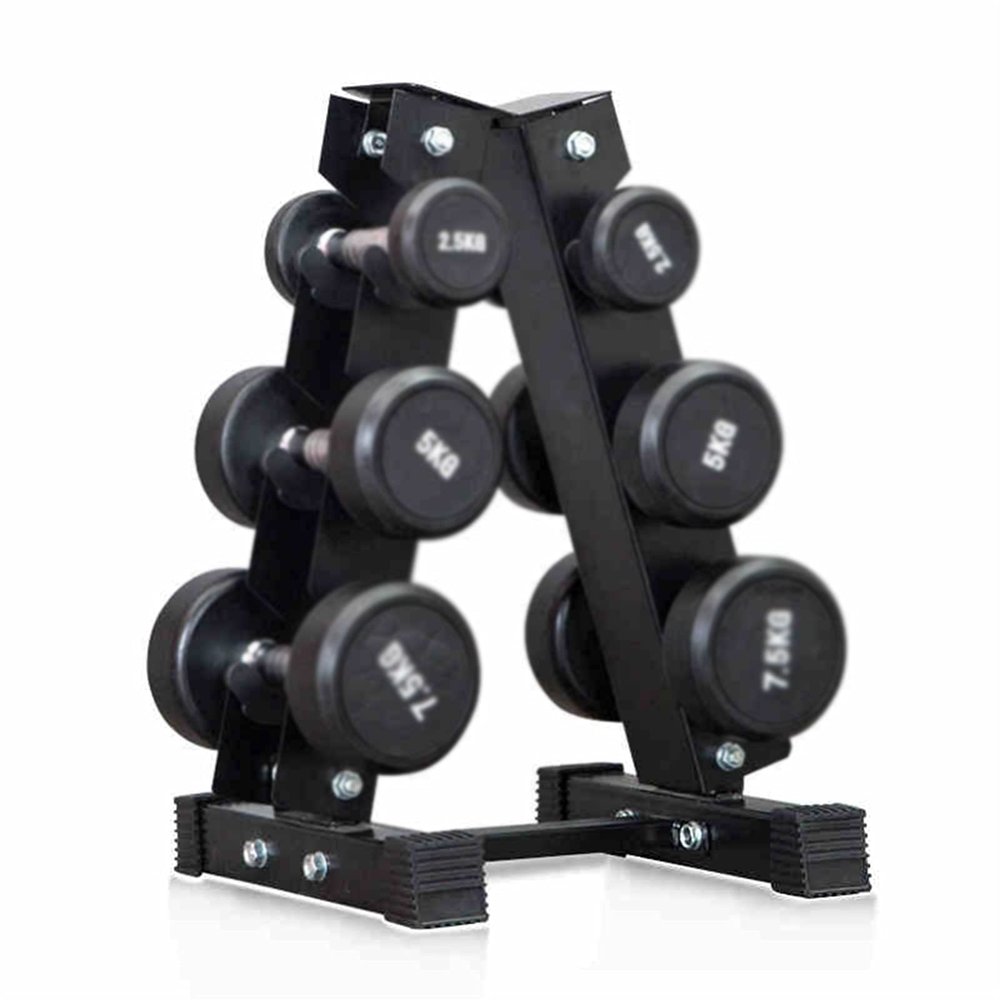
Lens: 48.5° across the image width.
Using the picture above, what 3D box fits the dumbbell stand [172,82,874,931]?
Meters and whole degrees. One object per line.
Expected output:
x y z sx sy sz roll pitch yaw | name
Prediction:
0.007 -0.002 2.203 1.161 1.413 1.091 -2 -1 -29 | dumbbell stand

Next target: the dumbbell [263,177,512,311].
-0.225 -0.476 2.101 0.207 0.222 0.541 -9 14 -36 | dumbbell

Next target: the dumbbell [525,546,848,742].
0.363 0.308 2.386 0.331 0.357 0.720 2 -4 -26 | dumbbell

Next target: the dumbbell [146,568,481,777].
-0.381 0.319 2.097 0.304 0.311 0.665 -12 6 -43 | dumbbell

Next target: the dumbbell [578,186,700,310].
0.242 -0.504 2.202 0.264 0.244 0.293 -13 16 -10 | dumbbell
